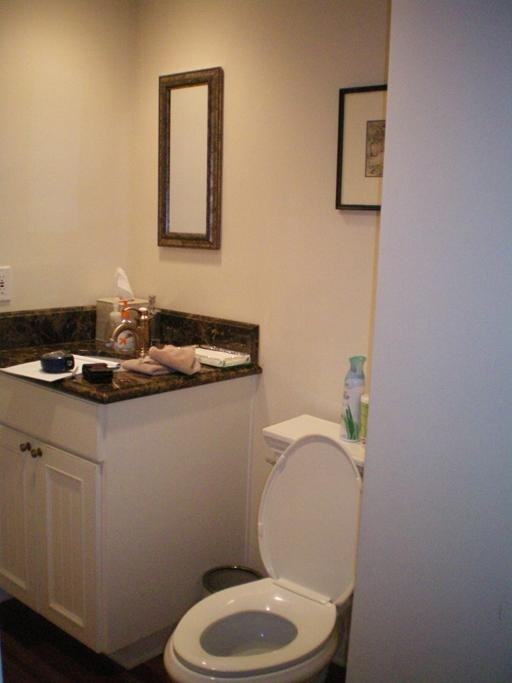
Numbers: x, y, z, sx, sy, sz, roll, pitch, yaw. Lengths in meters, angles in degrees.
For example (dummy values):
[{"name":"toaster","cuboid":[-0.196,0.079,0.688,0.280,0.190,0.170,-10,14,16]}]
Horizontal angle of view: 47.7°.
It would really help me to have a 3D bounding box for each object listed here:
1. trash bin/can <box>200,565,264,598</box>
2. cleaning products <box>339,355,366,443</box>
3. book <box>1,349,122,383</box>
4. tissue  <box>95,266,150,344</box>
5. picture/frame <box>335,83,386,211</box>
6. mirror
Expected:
[{"name":"trash bin/can","cuboid":[-0.087,0.775,1.863,0.129,0.105,0.140,2,11,5]},{"name":"cleaning products","cuboid":[0.232,0.150,1.481,0.080,0.197,0.092,1,5,-6]},{"name":"book","cuboid":[-0.589,0.069,1.776,0.256,0.046,0.378,7,10,21]},{"name":"tissue ","cuboid":[-0.498,-0.127,2.206,0.169,0.355,0.156,13,17,36]},{"name":"picture/frame","cuboid":[0.298,-0.525,1.597,0.012,0.328,0.261,-8,19,-23]},{"name":"mirror","cuboid":[-0.241,-0.639,2.074,0.308,0.609,0.045,10,11,39]}]
